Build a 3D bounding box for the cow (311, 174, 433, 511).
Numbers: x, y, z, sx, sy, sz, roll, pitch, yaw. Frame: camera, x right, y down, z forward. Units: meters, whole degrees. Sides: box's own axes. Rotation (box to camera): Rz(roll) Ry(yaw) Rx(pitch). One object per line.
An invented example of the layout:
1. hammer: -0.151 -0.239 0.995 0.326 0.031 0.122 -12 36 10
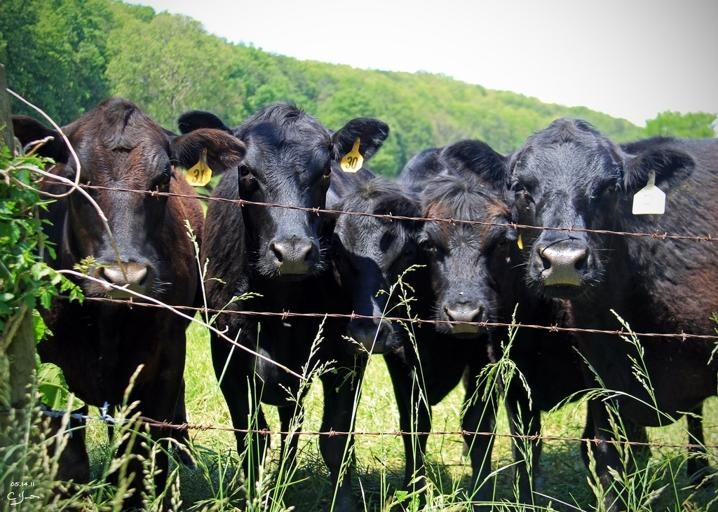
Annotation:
1. cow: 0.118 0.767 6.692 0.944 2.523 0.969 4 1 -4
